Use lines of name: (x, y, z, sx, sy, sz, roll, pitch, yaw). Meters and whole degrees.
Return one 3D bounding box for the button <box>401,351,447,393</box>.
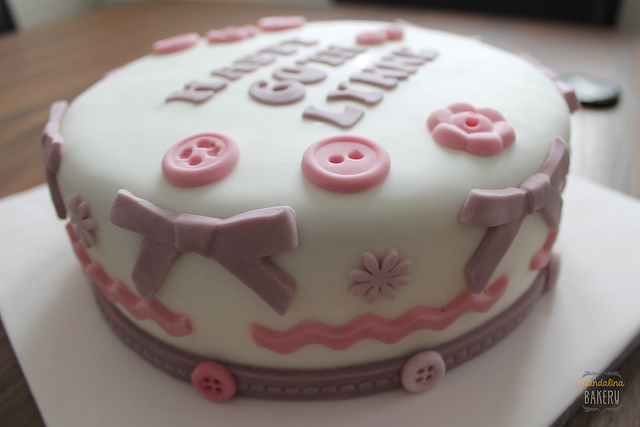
button: (0.429, 0.672, 2.392, 0.182, 0.185, 0.049, 8, 37, -29)
